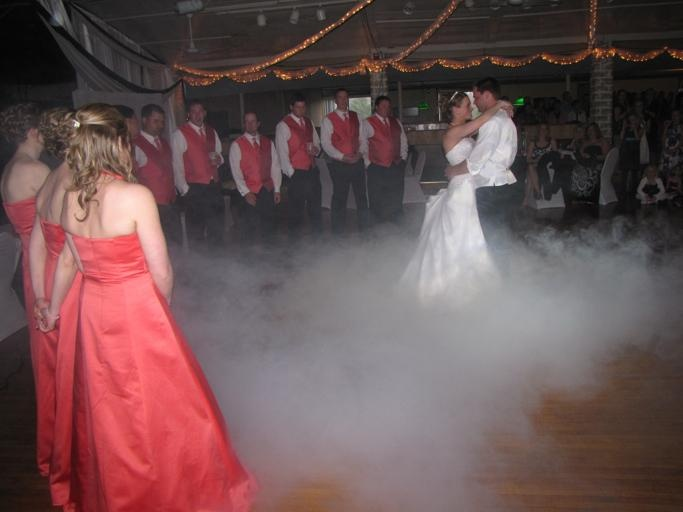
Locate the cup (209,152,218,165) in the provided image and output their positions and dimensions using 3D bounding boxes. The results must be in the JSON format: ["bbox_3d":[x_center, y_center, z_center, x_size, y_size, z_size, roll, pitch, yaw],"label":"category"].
[{"bbox_3d":[-1.290,-0.982,5.530,0.086,0.112,0.098,-1,2,1],"label":"cup"}]

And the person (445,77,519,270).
[{"bbox_3d":[1.196,-0.588,4.294,0.415,1.293,1.718,1,7,22],"label":"person"}]

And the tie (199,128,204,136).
[{"bbox_3d":[-1.437,-1.261,5.618,0.065,0.085,0.018,0,-1,-29],"label":"tie"}]

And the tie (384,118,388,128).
[{"bbox_3d":[0.517,-1.576,6.536,0.078,0.113,0.024,0,4,-8],"label":"tie"}]

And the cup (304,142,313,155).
[{"bbox_3d":[-0.355,-1.168,6.025,0.087,0.130,0.065,-2,6,-4],"label":"cup"}]

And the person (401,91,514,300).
[{"bbox_3d":[0.653,-0.272,3.896,0.660,1.143,0.543,-6,-12,44],"label":"person"}]

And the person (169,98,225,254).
[{"bbox_3d":[-1.430,-0.796,5.742,0.474,1.558,0.401,-8,33,-20],"label":"person"}]
